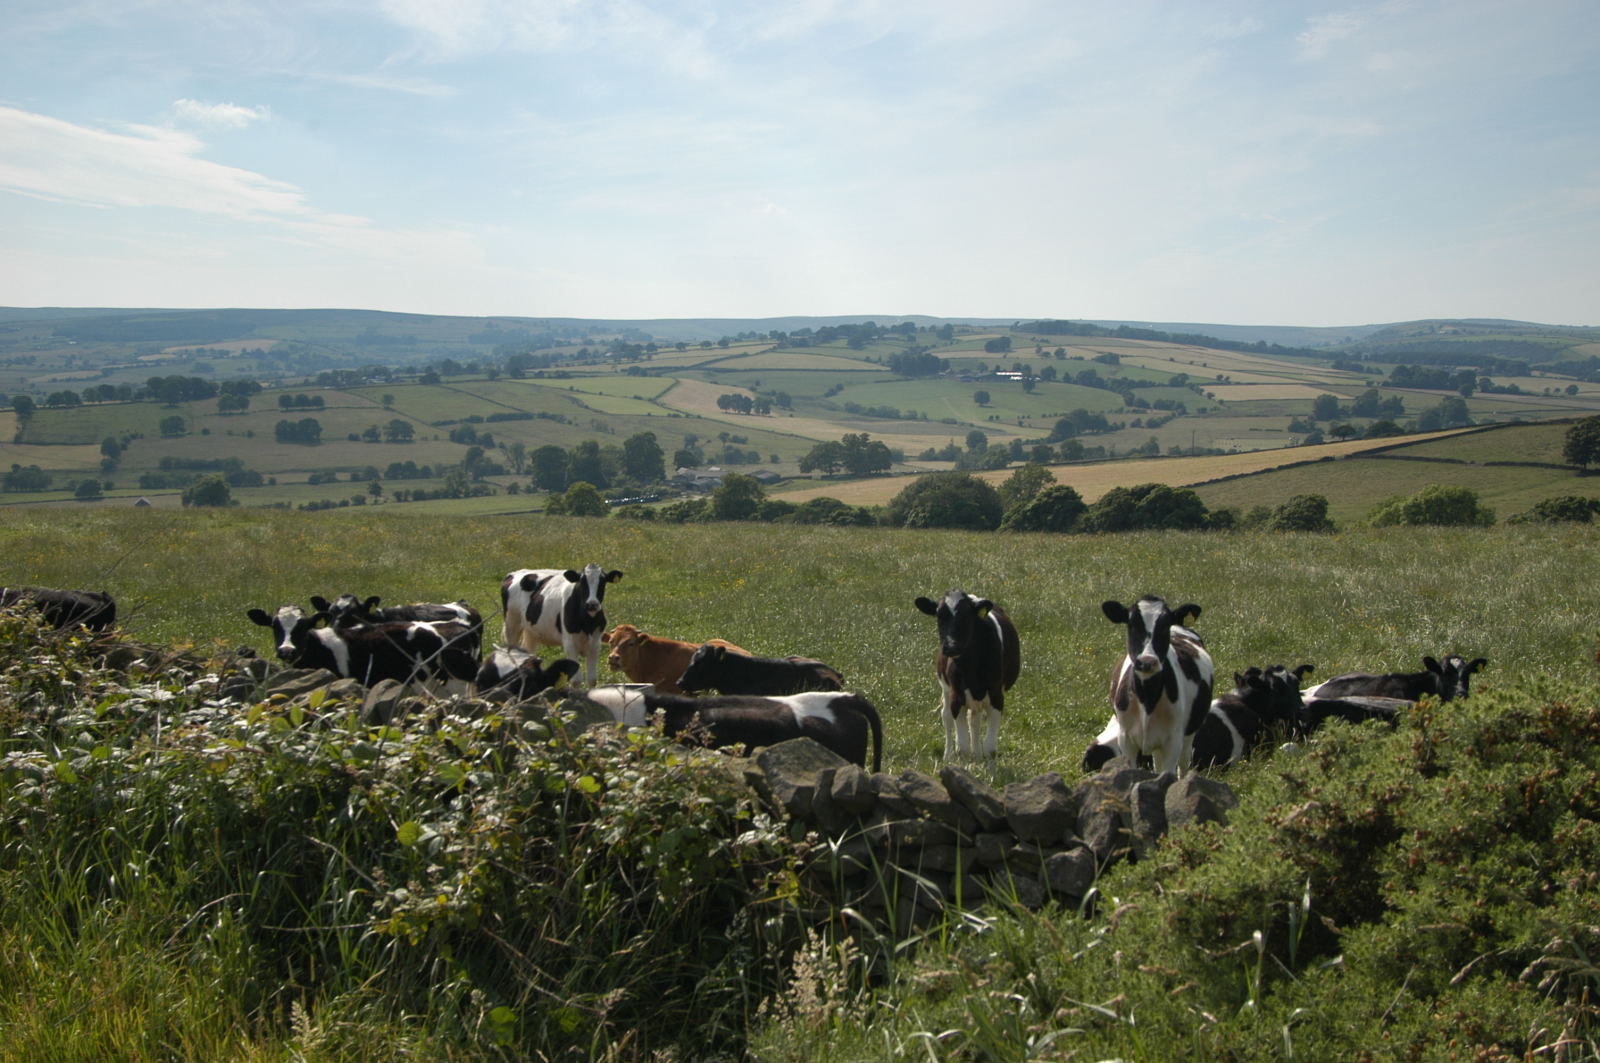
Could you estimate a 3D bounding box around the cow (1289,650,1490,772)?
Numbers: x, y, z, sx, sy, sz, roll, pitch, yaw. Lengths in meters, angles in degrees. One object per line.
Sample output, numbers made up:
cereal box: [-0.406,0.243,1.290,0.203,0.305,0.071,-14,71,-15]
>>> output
cow: [5.639,1.698,11.332,2.145,1.045,0.770,-14,9,16]

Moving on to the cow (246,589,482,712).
cow: [-5.595,1.506,15.649,2.542,0.954,1.728,-2,5,-18]
